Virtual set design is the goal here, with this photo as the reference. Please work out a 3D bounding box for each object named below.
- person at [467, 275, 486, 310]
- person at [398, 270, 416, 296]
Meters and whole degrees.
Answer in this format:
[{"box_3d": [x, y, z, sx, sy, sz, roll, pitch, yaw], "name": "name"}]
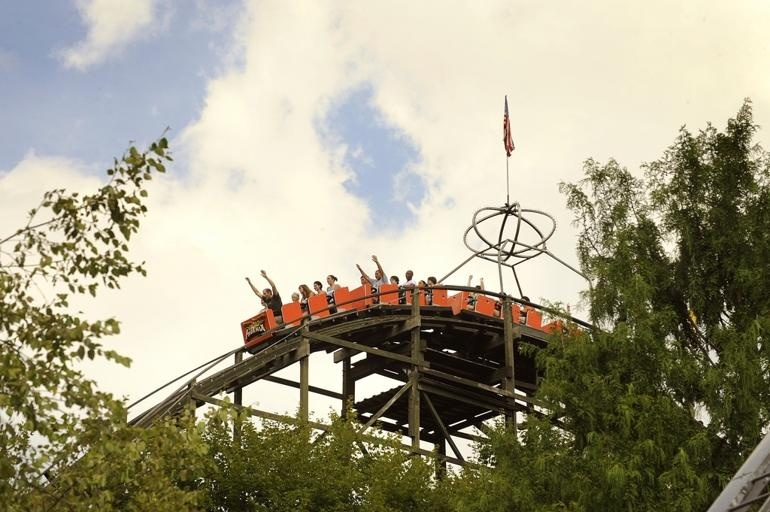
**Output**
[{"box_3d": [2.671, 1.211, 29.794, 0.661, 0.418, 1.270, 2, -88, 2], "name": "person"}, {"box_3d": [0.603, 0.838, 28.061, 0.433, 1.273, 0.432, -17, -87, 6], "name": "person"}]
